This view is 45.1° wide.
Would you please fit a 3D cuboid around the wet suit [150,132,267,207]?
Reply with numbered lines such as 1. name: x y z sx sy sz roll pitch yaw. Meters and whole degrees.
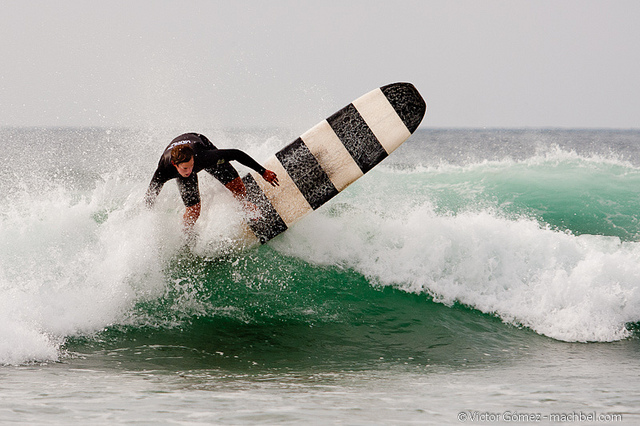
1. wet suit: -1.728 -0.655 12.441 1.776 0.971 1.212 -27 24 8
